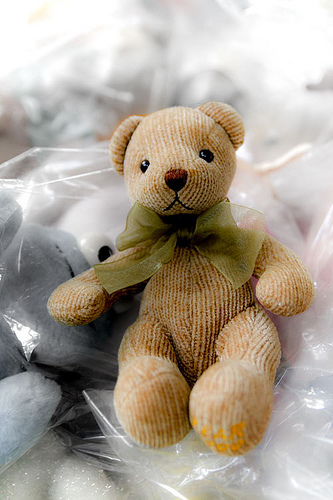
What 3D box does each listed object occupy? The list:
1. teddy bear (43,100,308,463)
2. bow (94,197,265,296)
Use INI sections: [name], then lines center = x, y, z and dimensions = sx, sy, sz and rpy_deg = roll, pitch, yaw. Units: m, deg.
[teddy bear]
center = -0.005, 0.021, 0.648
dimensions = 0.382, 0.393, 0.280
rpy_deg = 1, 18, 20
[bow]
center = 0.036, 0.019, 0.711
dimensions = 0.223, 0.061, 0.128
rpy_deg = -5, 75, 2
